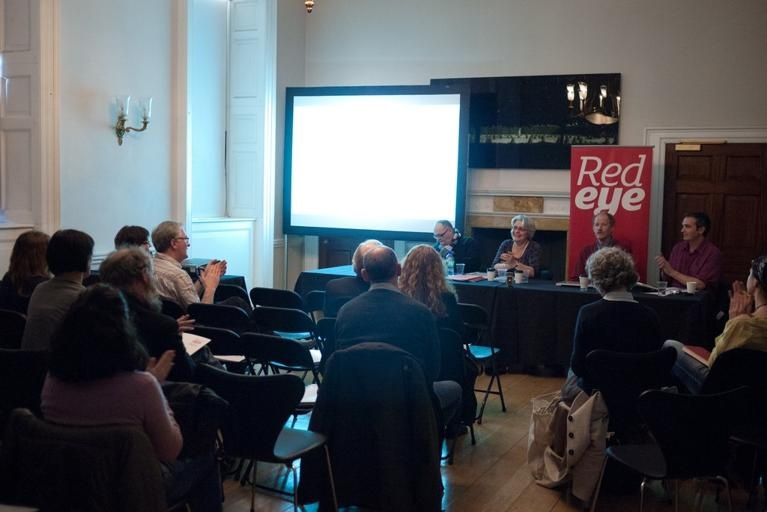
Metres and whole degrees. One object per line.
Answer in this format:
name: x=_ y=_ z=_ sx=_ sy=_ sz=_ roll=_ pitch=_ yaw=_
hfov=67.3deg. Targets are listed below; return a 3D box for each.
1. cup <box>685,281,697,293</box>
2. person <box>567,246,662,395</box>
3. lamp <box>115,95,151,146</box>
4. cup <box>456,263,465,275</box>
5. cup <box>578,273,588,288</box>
cup: x=2.761 y=0.277 z=5.220 sx=0.122 sy=0.099 sz=0.101 roll=0 pitch=1 yaw=37
person: x=1.413 y=0.345 z=3.495 sx=0.513 sy=0.758 sz=0.309 roll=2 pitch=7 yaw=12
lamp: x=-2.730 y=-1.487 z=6.385 sx=0.202 sy=0.535 sz=0.495 roll=5 pitch=8 yaw=32
cup: x=0.819 y=0.128 z=6.130 sx=0.091 sy=0.081 sz=0.098 roll=1 pitch=-1 yaw=0
cup: x=1.864 y=0.240 z=5.383 sx=0.097 sy=0.110 sz=0.101 roll=1 pitch=2 yaw=0
